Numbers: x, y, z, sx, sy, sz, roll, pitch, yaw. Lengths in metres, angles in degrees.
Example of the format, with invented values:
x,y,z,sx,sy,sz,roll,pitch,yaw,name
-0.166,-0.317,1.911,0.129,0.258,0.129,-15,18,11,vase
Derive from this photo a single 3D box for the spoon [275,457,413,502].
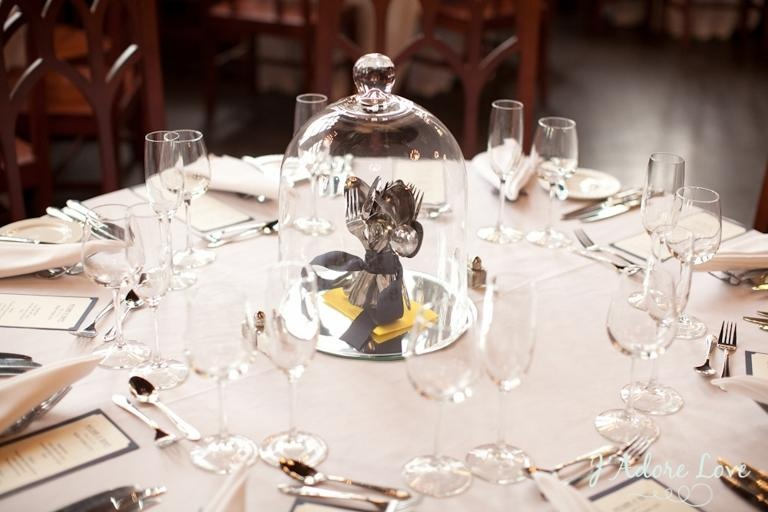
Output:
x,y,z,sx,sy,sz,roll,pitch,yaw,name
-0.070,0.372,1.033,0.159,0.019,0.029,9,58,5,spoon

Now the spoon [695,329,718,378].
x,y,z,sx,sy,sz,roll,pitch,yaw,name
0.659,0.204,1.271,0.036,0.021,0.135,7,30,32,spoon
